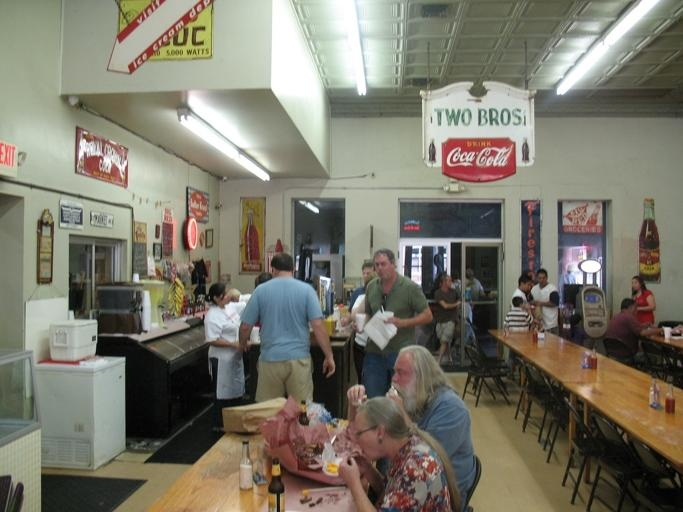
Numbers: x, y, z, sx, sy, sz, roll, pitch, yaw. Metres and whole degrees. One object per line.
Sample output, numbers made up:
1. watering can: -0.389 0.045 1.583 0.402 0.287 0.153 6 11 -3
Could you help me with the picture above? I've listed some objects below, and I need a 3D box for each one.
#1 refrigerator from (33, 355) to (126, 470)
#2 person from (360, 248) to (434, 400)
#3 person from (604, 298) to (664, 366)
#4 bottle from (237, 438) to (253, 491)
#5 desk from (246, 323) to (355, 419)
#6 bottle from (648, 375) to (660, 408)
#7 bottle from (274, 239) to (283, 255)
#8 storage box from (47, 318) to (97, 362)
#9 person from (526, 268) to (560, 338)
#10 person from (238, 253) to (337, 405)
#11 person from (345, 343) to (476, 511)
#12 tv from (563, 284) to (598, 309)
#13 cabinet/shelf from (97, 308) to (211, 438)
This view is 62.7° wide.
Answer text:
1. refrigerator: -3.236 1.757 7.118 0.953 1.603 1.339 0 -1 6
2. person: 0.527 0.998 6.290 0.767 2.103 0.657 3 10 28
3. person: 5.006 1.430 9.560 0.725 1.463 0.649 -2 6 6
4. bottle: -0.770 1.652 4.471 0.109 0.331 0.184 -2 -1 -8
5. desk: -0.475 1.247 7.564 1.364 1.543 1.027 0 2 37
6. bottle: 3.353 1.467 6.026 0.122 0.344 0.380 -2 -1 29
7. bottle: -1.276 -0.213 11.307 0.163 0.243 0.449 -2 -1 -7
8. storage box: -3.318 1.046 6.917 0.337 0.496 0.606 2 -2 4
9. person: 3.795 1.183 10.625 0.549 1.794 0.538 3 16 37
10. person: -0.619 0.771 6.157 1.026 1.423 0.473 -2 -1 -13
11. person: 0.510 1.523 5.514 1.110 2.225 0.951 2 -10 -4
12. tv: 4.852 0.789 11.406 0.623 0.697 0.361 0 1 -1
13. cabinet/shelf: -2.509 1.659 8.270 0.618 1.261 1.861 -5 0 5
